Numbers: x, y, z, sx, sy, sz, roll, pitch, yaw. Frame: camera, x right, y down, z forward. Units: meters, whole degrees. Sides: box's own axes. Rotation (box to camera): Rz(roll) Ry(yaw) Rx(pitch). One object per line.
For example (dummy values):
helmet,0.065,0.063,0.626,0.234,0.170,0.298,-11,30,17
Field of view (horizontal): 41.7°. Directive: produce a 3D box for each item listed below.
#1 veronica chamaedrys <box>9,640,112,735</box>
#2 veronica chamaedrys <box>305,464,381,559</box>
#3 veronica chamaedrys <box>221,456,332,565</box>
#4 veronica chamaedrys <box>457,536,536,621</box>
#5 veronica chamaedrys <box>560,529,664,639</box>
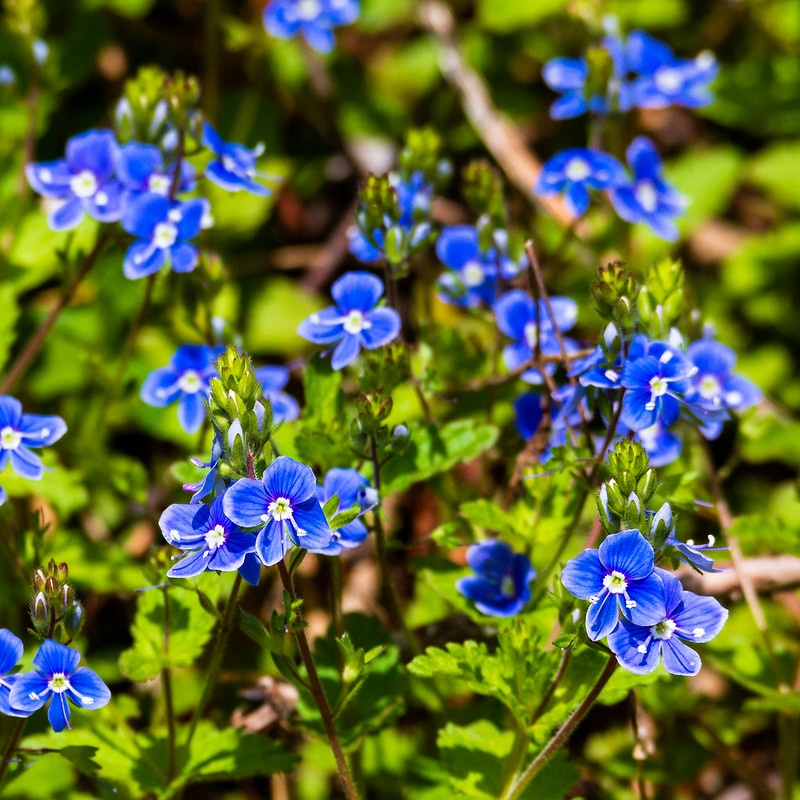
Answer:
veronica chamaedrys,-0.805,0.689,2.512,0.225,0.263,0.155,-14,58,-7
veronica chamaedrys,-0.183,0.243,2.755,0.259,0.120,0.317,2,9,-9
veronica chamaedrys,-0.270,0.253,2.305,0.209,0.148,0.182,-25,61,-12
veronica chamaedrys,0.274,0.487,2.907,0.233,0.130,0.247,-6,26,40
veronica chamaedrys,0.465,0.387,2.278,0.177,0.090,0.224,1,30,32
